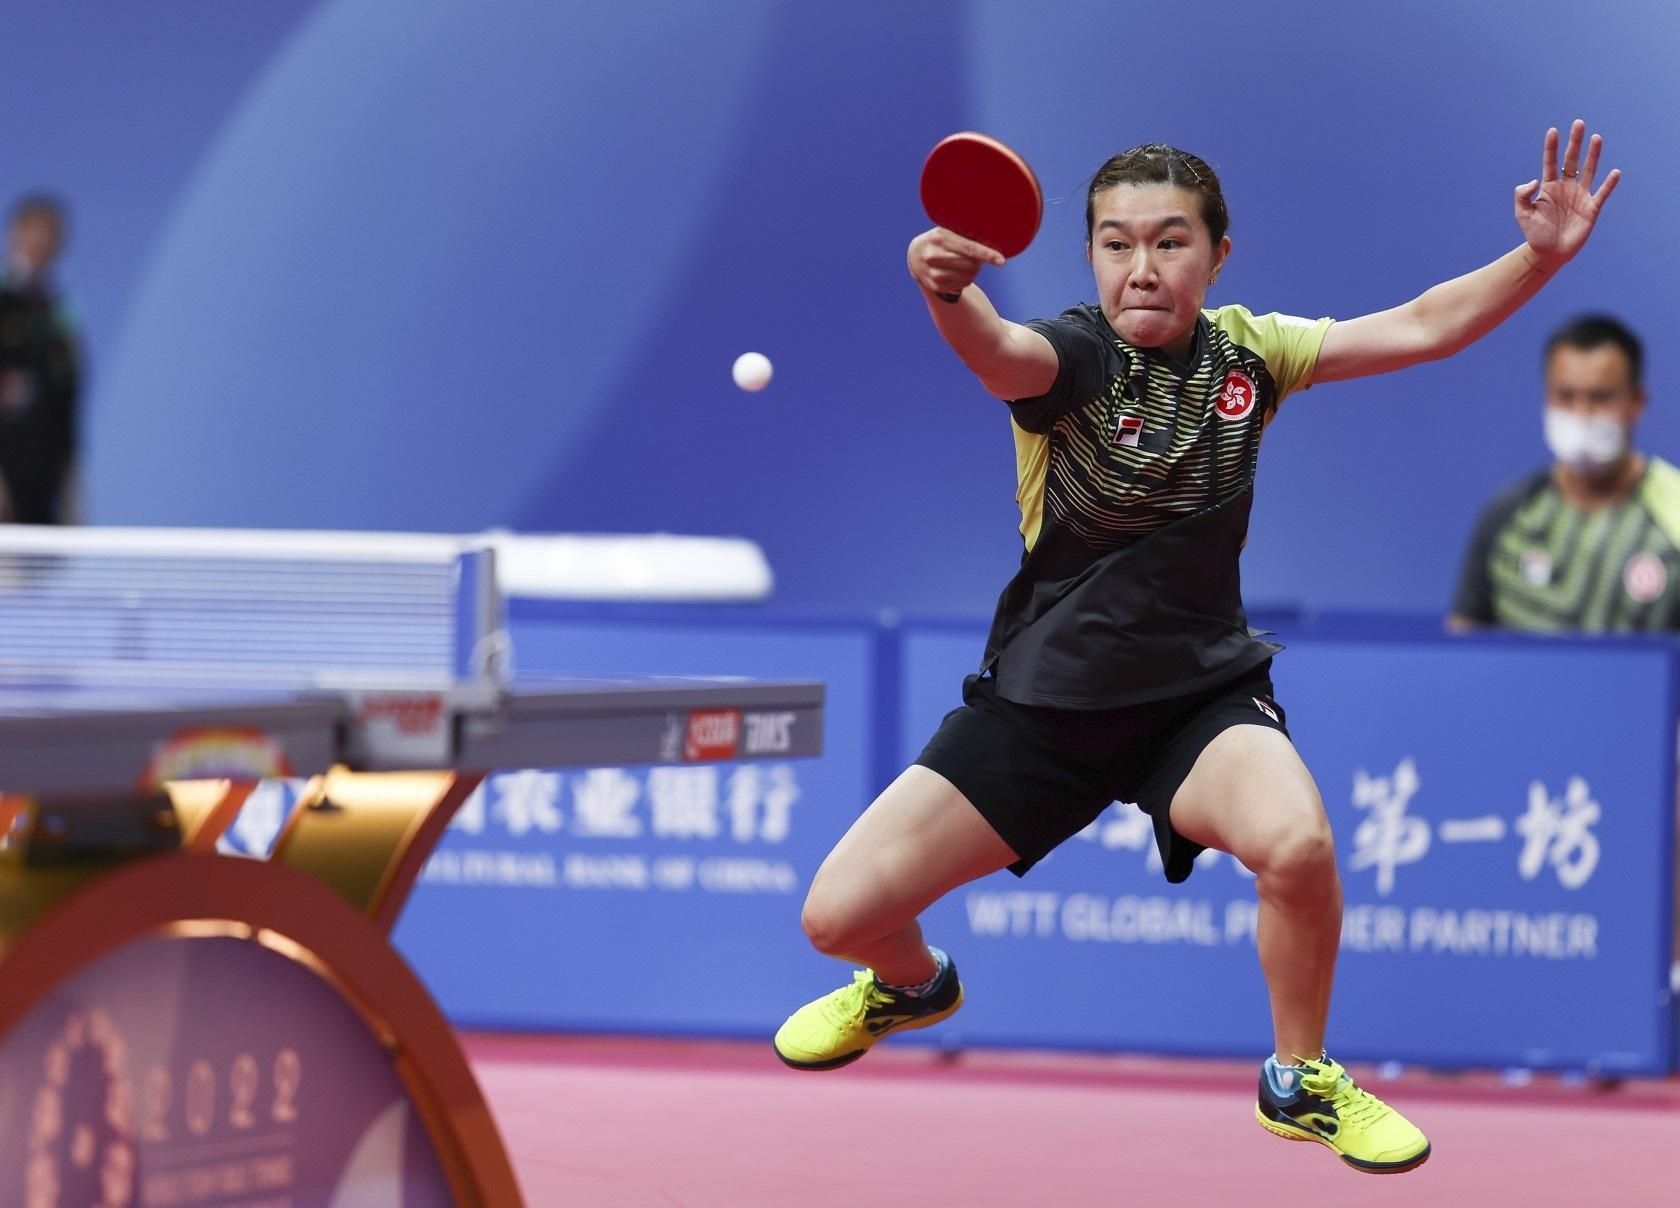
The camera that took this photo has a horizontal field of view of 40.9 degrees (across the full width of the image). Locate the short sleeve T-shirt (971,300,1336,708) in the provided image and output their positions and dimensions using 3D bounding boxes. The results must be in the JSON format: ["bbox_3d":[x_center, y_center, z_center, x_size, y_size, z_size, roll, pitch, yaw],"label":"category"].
[{"bbox_3d":[0.678,-0.115,5.265,1.085,1.154,0.744,1,-7,3],"label":"short sleeve T-shirt"}]

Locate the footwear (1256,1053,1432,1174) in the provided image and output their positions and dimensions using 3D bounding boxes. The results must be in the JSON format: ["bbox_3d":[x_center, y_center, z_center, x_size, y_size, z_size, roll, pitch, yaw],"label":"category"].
[{"bbox_3d":[1.092,1.105,4.930,0.181,0.198,0.424,-12,15,-43],"label":"footwear"}]
